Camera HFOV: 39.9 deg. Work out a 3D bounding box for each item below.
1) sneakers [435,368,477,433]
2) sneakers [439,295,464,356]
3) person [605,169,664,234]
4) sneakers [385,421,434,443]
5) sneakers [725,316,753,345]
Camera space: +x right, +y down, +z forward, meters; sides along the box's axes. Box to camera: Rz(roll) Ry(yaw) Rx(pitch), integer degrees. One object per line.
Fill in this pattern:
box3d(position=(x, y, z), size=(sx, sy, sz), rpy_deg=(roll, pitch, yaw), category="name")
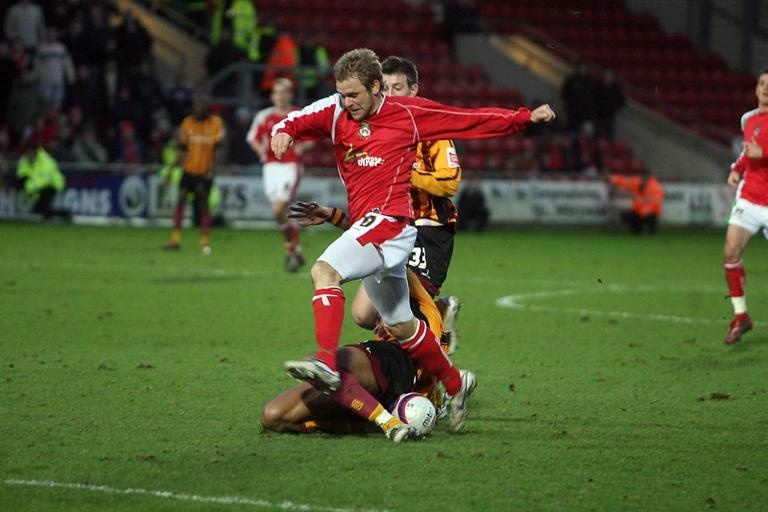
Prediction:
box3d(position=(0.581, 1.122, 8.216), size=(0.187, 0.258, 0.562), rpy_deg=(-16, 15, 21), category="sneakers")
box3d(position=(0.541, 0.557, 8.653), size=(0.156, 0.495, 0.222), rpy_deg=(-7, -15, 18), category="sneakers")
box3d(position=(3.825, -0.801, 16.212), size=(0.861, 1.317, 0.601), rpy_deg=(14, 27, 36), category="person")
box3d(position=(0.130, 1.306, 7.802), size=(0.146, 0.098, 0.217), rpy_deg=(-5, -4, -44), category="sneakers")
box3d(position=(3.425, 0.734, 10.176), size=(0.288, 0.142, 0.098), rpy_deg=(-43, 6, -27), category="sneakers")
